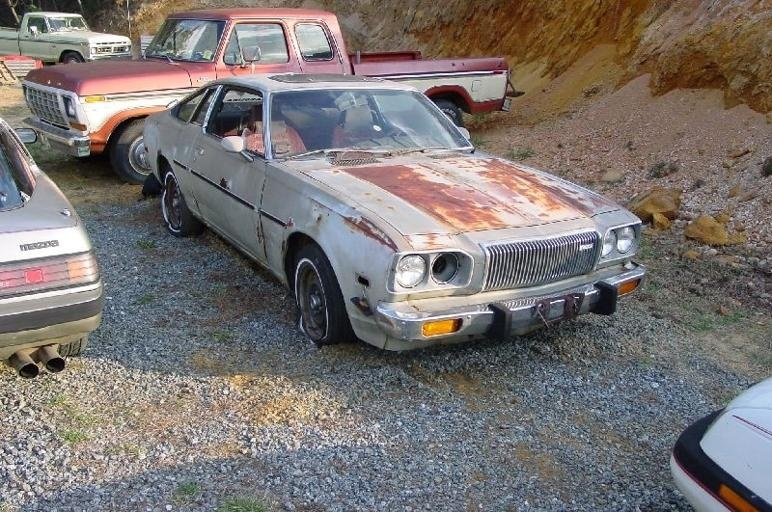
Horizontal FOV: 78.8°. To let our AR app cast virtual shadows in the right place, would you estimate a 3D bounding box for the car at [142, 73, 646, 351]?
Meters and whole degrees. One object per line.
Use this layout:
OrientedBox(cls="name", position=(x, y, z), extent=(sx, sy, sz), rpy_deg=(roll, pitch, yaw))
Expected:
OrientedBox(cls="car", position=(-0.124, -0.448, 4.892), extent=(2.483, 2.054, 4.612), rpy_deg=(-25, 44, -37))
